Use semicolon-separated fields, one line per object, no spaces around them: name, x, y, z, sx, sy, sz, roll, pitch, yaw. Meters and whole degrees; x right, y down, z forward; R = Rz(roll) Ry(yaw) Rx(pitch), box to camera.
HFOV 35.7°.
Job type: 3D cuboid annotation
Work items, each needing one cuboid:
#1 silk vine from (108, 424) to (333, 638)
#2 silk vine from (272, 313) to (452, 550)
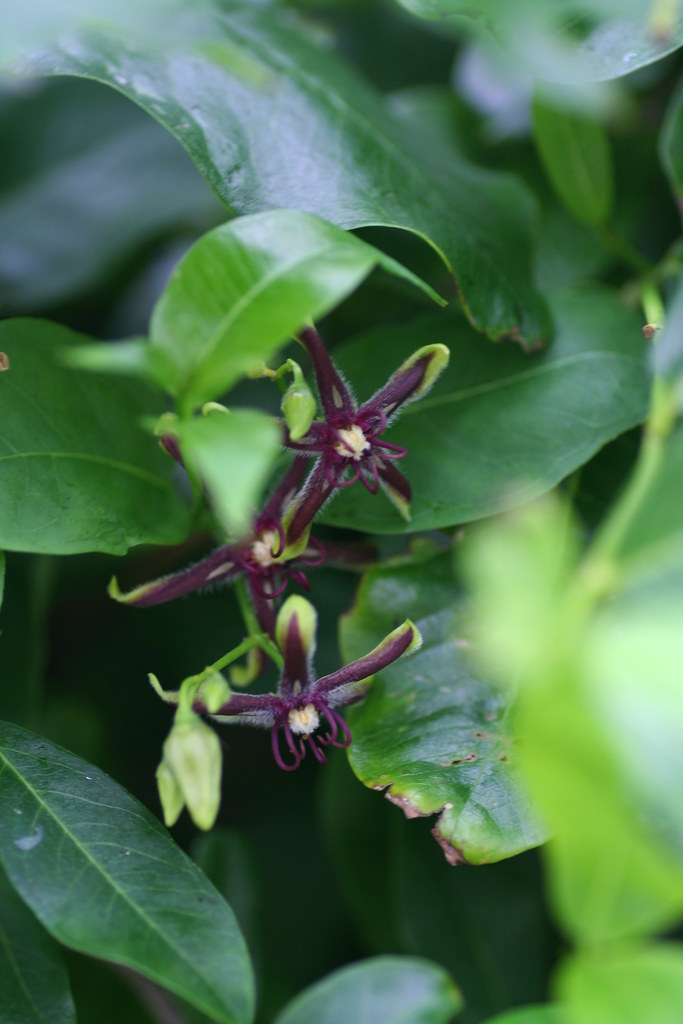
silk vine;-0.079;0.030;0.873;0.215;0.206;0.073;-6;99;12
silk vine;0.015;-0.061;0.819;0.200;0.209;0.056;-37;93;-6
